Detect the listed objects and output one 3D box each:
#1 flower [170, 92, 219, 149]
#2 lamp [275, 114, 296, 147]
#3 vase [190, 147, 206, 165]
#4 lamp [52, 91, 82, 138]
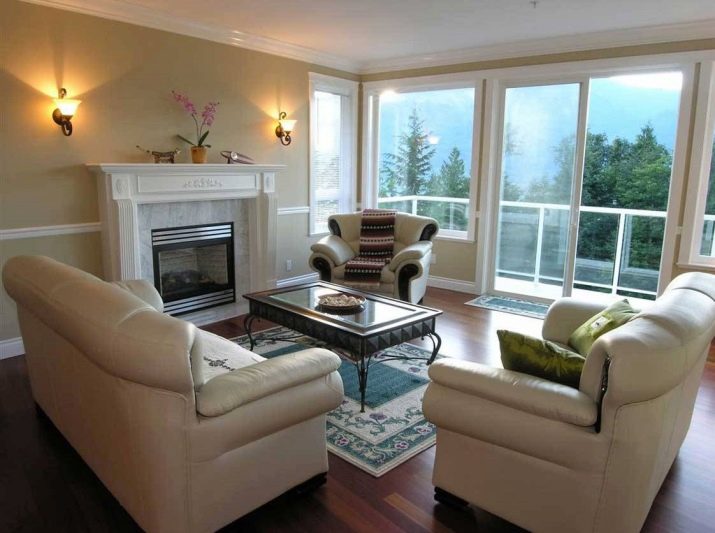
[{"bbox_3d":[-1.723,-1.547,5.231,0.596,0.642,0.303,-8,17,-42],"label":"flower"},{"bbox_3d":[-0.833,-1.667,6.127,0.204,0.393,0.333,7,14,28],"label":"lamp"},{"bbox_3d":[-1.637,-1.141,5.177,0.128,0.177,0.188,-5,13,-24],"label":"vase"},{"bbox_3d":[-2.526,-1.317,4.371,0.202,0.393,0.179,8,5,-10],"label":"lamp"}]
